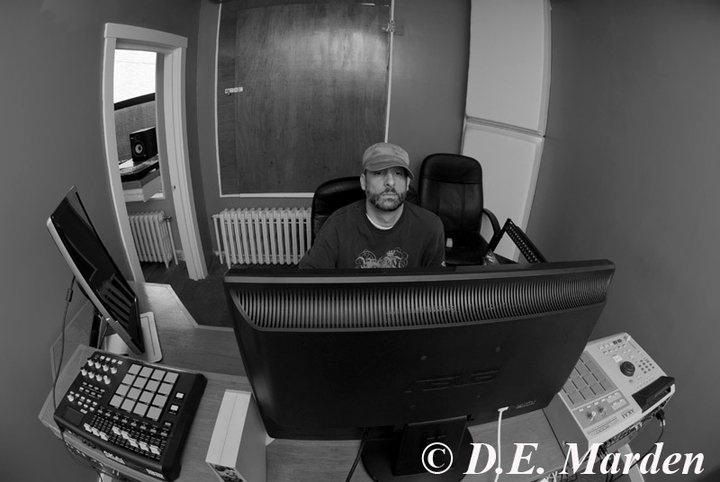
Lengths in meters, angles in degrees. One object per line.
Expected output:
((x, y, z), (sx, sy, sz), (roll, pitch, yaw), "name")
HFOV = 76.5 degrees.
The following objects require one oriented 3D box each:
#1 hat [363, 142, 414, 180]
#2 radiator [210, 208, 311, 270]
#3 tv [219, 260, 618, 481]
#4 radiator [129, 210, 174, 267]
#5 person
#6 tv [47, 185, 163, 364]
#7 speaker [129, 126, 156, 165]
((0.150, -0.481, 2.676), (0.257, 0.172, 0.350), (1, 8, -19), "hat")
((-0.945, -0.013, 4.418), (0.887, 0.577, 0.140), (0, 17, 0), "radiator")
((0.185, 0.863, 2.349), (1.962, 1.466, 0.561), (-1, 46, -4), "tv")
((-1.919, -0.051, 4.203), (0.477, 0.538, 0.169), (-2, 25, -3), "radiator")
((0.075, -0.071, 2.667), (0.985, 0.919, 0.514), (0, 13, -14), "person")
((-1.378, 0.179, 2.450), (0.328, 0.958, 0.642), (-17, 44, -12), "tv")
((-2.173, -0.985, 4.598), (0.156, 0.284, 0.292), (-2, 23, -5), "speaker")
